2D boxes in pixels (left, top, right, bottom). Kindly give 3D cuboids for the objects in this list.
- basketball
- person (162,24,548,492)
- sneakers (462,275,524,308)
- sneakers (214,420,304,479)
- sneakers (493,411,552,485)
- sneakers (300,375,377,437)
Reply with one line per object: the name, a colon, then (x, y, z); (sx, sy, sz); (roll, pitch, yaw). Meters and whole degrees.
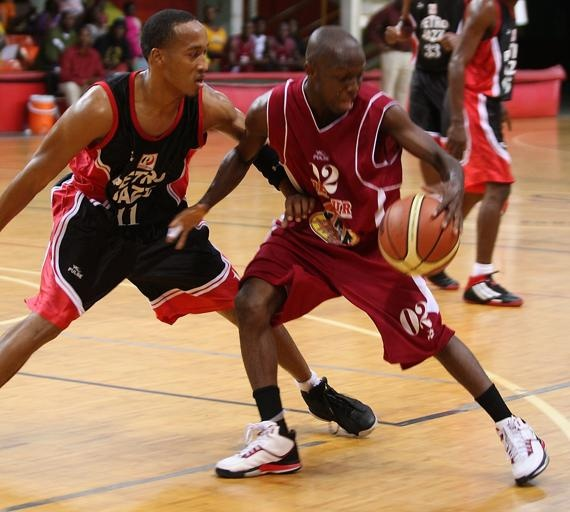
basketball: (0.404, -0.054, 1.896); (0.218, 0.275, 0.205); (-2, 9, -9)
person: (0.149, -0.025, 1.937); (1.201, 1.408, 0.655); (6, 11, 36)
sneakers: (1.473, 0.251, 4.225); (0.502, 0.195, 0.159); (2, -1, 10)
sneakers: (-0.085, 0.592, 1.916); (0.263, 0.195, 0.111); (-1, 9, -2)
sneakers: (0.687, 0.579, 1.862); (0.094, 0.110, 0.237); (-43, 2, 11)
sneakers: (0.183, 0.549, 2.352); (0.362, 0.160, 0.118); (14, 68, 48)
